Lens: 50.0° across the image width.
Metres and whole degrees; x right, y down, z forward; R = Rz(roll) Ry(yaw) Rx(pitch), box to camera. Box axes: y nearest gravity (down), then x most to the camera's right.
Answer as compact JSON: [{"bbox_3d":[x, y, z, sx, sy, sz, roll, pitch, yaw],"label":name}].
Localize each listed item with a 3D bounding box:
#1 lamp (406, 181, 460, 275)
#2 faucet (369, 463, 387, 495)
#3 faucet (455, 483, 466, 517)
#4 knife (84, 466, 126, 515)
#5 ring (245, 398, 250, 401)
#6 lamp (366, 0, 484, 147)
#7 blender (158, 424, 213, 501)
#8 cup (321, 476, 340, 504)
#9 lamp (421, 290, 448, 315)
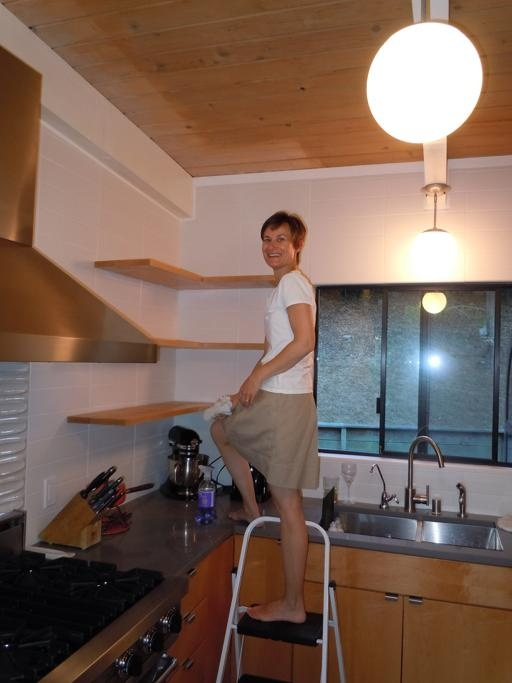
[{"bbox_3d":[0.815,-0.495,2.513,0.213,0.392,0.269,0,-5,16],"label":"lamp"},{"bbox_3d":[0.572,0.640,2.577,0.075,0.134,0.091,0,-5,11],"label":"faucet"},{"bbox_3d":[0.912,0.694,2.441,0.042,0.137,0.130,0,-5,20],"label":"faucet"},{"bbox_3d":[-0.547,0.526,1.969,0.165,0.159,0.143,3,-5,-22],"label":"knife"},{"bbox_3d":[-0.030,0.193,1.845,0.009,0.012,0.003,-2,-9,9],"label":"ring"},{"bbox_3d":[0.300,-0.482,0.999,0.182,0.176,0.189,2,-4,-11],"label":"lamp"},{"bbox_3d":[-0.354,0.580,2.733,0.207,0.309,0.302,5,-4,-22],"label":"blender"},{"bbox_3d":[0.344,0.679,2.530,0.096,0.110,0.108,2,3,13],"label":"cup"},{"bbox_3d":[0.853,-0.194,2.623,0.107,0.088,0.108,-2,5,3],"label":"lamp"}]
